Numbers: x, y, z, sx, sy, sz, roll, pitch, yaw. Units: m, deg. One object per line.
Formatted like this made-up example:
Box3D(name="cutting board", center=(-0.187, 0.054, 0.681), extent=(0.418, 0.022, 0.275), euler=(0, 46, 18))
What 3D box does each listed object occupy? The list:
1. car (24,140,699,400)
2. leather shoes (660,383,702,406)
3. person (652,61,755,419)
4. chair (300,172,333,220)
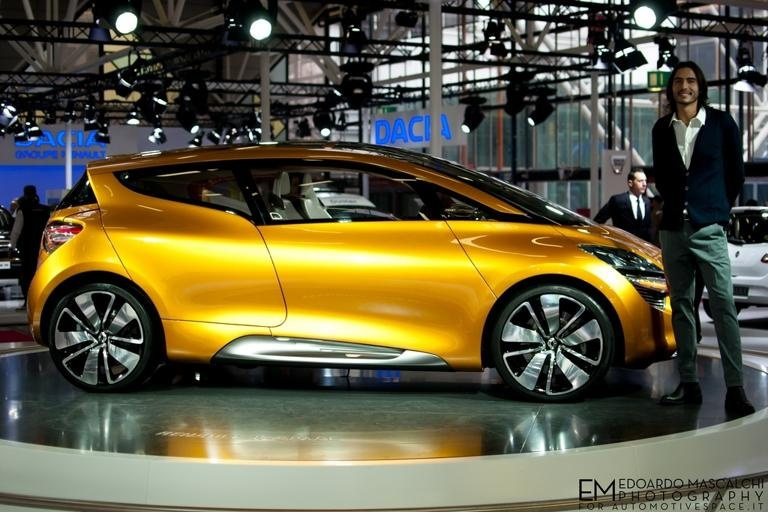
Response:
Box3D(name="car", center=(-0.083, 0.120, 6.664), extent=(4.797, 1.537, 2.147), euler=(0, -1, 5))
Box3D(name="leather shoes", center=(2.285, 1.082, 5.968), extent=(0.356, 0.216, 0.140), euler=(1, -6, 3))
Box3D(name="person", center=(2.450, -0.173, 5.903), extent=(0.841, 2.546, 0.761), euler=(0, -4, 31))
Box3D(name="chair", center=(-0.566, -0.457, 6.042), extent=(0.335, 0.385, 0.251), euler=(1, 4, 17))
